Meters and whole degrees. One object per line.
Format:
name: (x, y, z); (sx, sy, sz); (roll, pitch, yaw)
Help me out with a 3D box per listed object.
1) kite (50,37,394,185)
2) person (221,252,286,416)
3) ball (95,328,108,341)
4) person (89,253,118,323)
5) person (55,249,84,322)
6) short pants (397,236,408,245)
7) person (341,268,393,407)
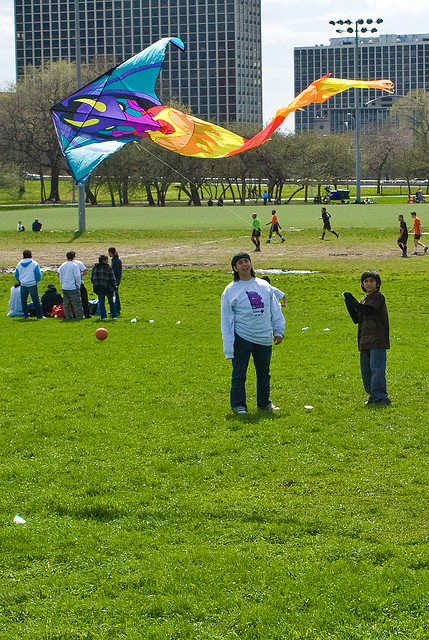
kite: (0.269, -2.951, 18.099); (4.050, 1.669, 4.223); (3, 8, -15)
person: (0.392, 0.124, 14.020); (0.645, 1.722, 0.724); (-1, 10, 0)
ball: (-1.561, 0.211, 18.751); (0.157, 0.157, 0.257); (-3, 11, -8)
person: (-1.694, -0.516, 20.902); (0.397, 1.087, 0.914); (-2, 11, -5)
person: (-2.210, -0.523, 20.808); (0.379, 1.163, 0.860); (-3, 11, -6)
short pants: (4.616, -1.983, 33.342); (0.287, 0.193, 0.241); (-4, -39, 0)
person: (1.630, 0.186, 14.257); (0.417, 1.445, 0.628); (-4, 10, -16)
